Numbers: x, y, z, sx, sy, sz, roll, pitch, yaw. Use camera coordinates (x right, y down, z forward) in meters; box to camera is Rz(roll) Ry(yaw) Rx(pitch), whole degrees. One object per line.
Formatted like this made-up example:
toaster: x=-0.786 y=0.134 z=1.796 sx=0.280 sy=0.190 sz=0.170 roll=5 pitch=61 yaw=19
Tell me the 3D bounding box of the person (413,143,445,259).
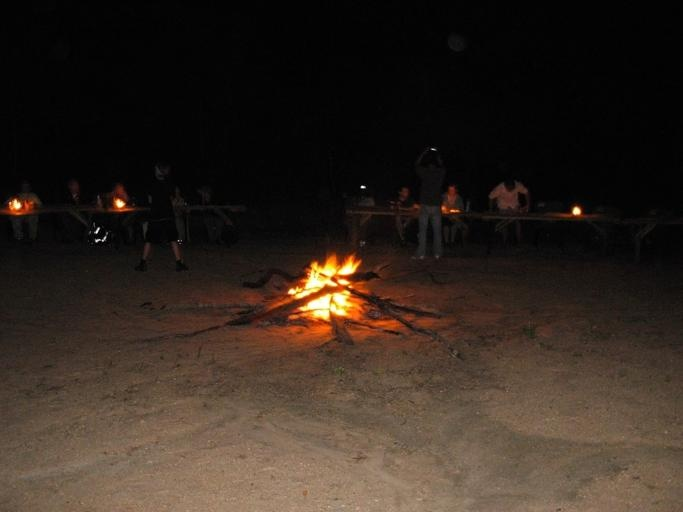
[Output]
person: x=1.847 y=-1.101 z=10.610 sx=0.700 sy=2.352 sz=0.633 roll=2 pitch=2 yaw=-24
